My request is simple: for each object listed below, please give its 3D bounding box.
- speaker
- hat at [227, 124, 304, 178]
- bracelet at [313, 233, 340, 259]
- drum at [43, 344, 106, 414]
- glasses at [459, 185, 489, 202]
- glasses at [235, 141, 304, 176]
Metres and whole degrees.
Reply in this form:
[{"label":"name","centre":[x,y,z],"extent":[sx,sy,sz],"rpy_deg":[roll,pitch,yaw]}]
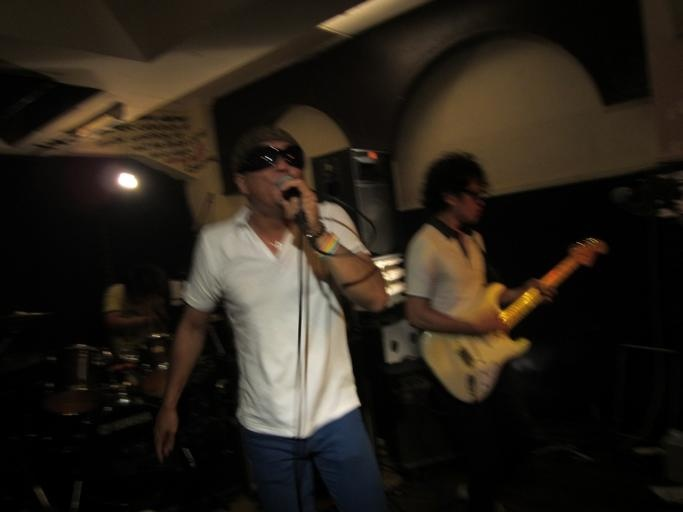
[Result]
[{"label":"speaker","centre":[0.044,-0.119,1.338],"extent":[0.194,0.260,0.185],"rpy_deg":[-7,3,1]},{"label":"hat","centre":[-0.225,-0.262,1.400],"extent":[0.238,0.057,0.209],"rpy_deg":[-15,-12,-45]},{"label":"bracelet","centre":[-0.036,-0.023,1.291],"extent":[0.059,0.042,0.059],"rpy_deg":[-4,-6,18]},{"label":"drum","centre":[-0.761,0.357,1.591],"extent":[0.195,0.187,0.184],"rpy_deg":[-5,-3,41]},{"label":"glasses","centre":[0.316,-0.143,1.234],"extent":[0.045,0.016,0.033],"rpy_deg":[29,13,29]},{"label":"glasses","centre":[-0.181,-0.241,1.305],"extent":[0.182,0.064,0.031],"rpy_deg":[-1,4,22]}]
